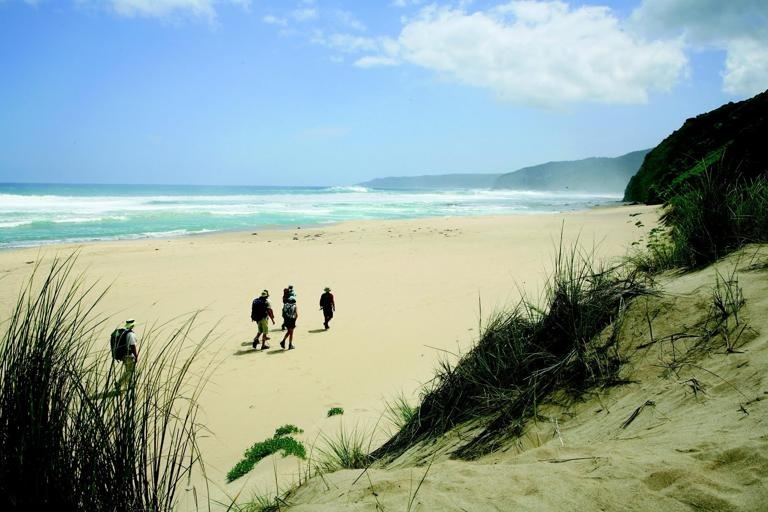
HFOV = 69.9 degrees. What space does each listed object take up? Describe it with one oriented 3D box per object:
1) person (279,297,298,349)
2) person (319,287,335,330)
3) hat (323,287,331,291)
[{"bbox_3d":[-2.197,1.510,12.439,0.536,1.023,0.976,-13,10,-9],"label":"person"},{"bbox_3d":[-1.441,1.263,13.674,0.384,0.955,0.897,-13,10,-7],"label":"person"},{"bbox_3d":[-1.414,0.857,13.529,0.169,0.088,0.163,0,-4,1],"label":"hat"}]
